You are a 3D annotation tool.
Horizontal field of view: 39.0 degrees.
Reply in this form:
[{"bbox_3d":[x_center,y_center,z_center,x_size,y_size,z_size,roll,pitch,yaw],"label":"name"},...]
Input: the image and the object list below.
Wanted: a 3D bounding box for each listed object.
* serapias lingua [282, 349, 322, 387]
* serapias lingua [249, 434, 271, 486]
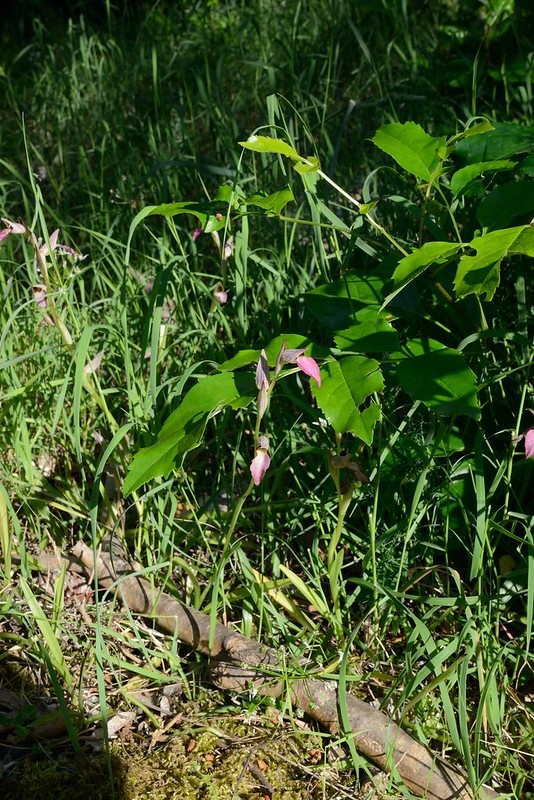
[{"bbox_3d":[0.052,-0.053,1.121,0.030,0.035,0.098,-29,23,-5],"label":"serapias lingua"},{"bbox_3d":[-0.011,0.098,1.157,0.033,0.026,0.084,6,68,-2],"label":"serapias lingua"}]
